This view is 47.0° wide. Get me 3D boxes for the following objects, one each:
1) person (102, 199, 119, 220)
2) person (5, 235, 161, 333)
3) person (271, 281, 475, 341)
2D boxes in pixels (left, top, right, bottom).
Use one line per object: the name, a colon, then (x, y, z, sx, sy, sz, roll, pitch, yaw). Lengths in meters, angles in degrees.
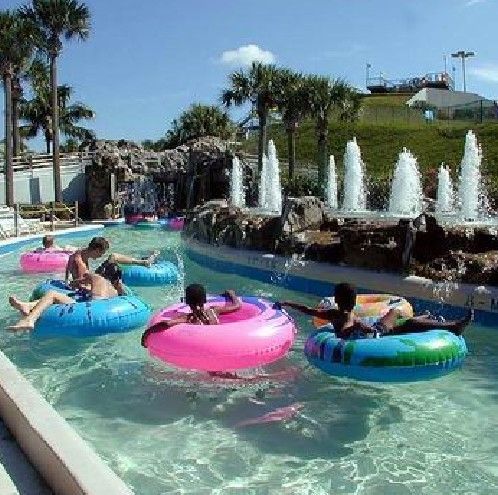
person: (-6.548, -1.788, 27.250, 0.687, 0.799, 1.146, 0, 7, -8)
person: (-2.082, 0.302, 6.791, 0.643, 1.195, 2.228, 9, 14, 31)
person: (1.087, 0.585, 4.969, 1.532, 0.676, 0.418, -3, 8, 24)
